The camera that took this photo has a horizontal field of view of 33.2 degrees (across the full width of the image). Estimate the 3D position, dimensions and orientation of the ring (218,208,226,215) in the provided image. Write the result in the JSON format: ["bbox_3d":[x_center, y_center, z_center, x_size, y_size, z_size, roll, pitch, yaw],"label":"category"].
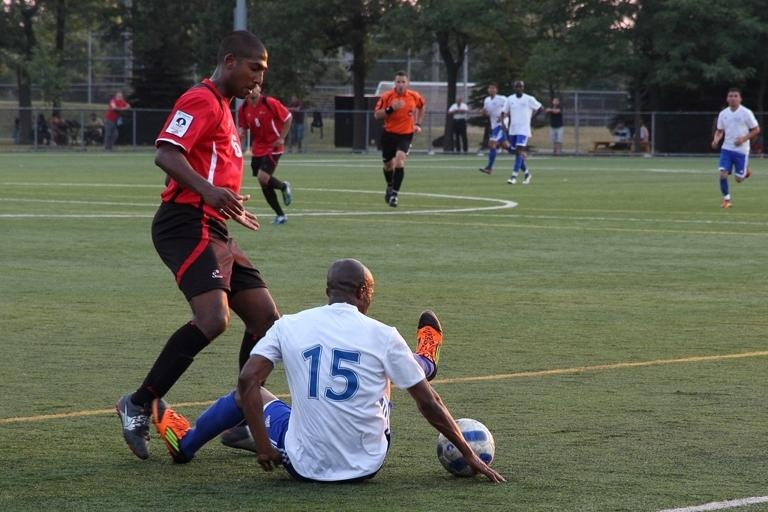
[{"bbox_3d":[-1.449,-0.385,11.595,0.032,0.051,0.035,-43,21,-10],"label":"ring"}]

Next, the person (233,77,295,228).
[{"bbox_3d":[-2.008,-1.747,21.722,0.796,2.302,1.295,1,2,39],"label":"person"}]

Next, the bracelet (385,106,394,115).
[{"bbox_3d":[0.138,-2.822,25.030,0.148,0.146,0.152,11,-2,-37],"label":"bracelet"}]

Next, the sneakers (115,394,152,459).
[{"bbox_3d":[-2.227,1.552,11.549,0.299,0.575,0.206,0,4,-11],"label":"sneakers"}]

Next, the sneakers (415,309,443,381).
[{"bbox_3d":[0.426,0.831,11.859,0.230,0.637,0.285,2,2,13],"label":"sneakers"}]
